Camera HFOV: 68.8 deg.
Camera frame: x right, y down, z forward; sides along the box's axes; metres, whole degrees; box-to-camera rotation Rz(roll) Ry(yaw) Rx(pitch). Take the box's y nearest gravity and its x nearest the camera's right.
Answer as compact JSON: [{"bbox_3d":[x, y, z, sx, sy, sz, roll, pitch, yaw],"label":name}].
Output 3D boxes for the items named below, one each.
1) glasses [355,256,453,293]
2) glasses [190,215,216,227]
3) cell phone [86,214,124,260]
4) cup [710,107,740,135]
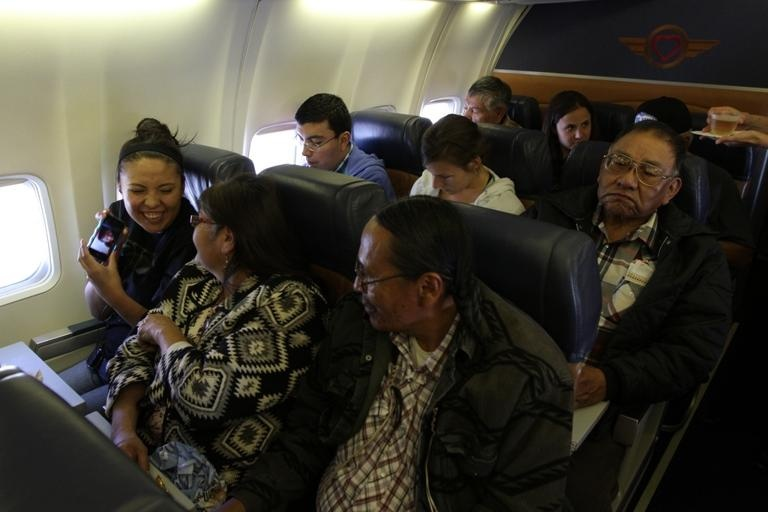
[{"bbox_3d":[0.057,0.065,1.946,0.210,0.057,0.158,-4,12,-11],"label":"glasses"},{"bbox_3d":[-0.763,-0.141,2.333,0.072,0.021,0.068,8,-1,-42],"label":"glasses"},{"bbox_3d":[-1.366,-0.087,2.763,0.147,0.253,0.027,31,6,-6],"label":"cell phone"},{"bbox_3d":[1.940,-0.767,3.206,0.155,0.133,0.167,0,11,0],"label":"cup"}]
